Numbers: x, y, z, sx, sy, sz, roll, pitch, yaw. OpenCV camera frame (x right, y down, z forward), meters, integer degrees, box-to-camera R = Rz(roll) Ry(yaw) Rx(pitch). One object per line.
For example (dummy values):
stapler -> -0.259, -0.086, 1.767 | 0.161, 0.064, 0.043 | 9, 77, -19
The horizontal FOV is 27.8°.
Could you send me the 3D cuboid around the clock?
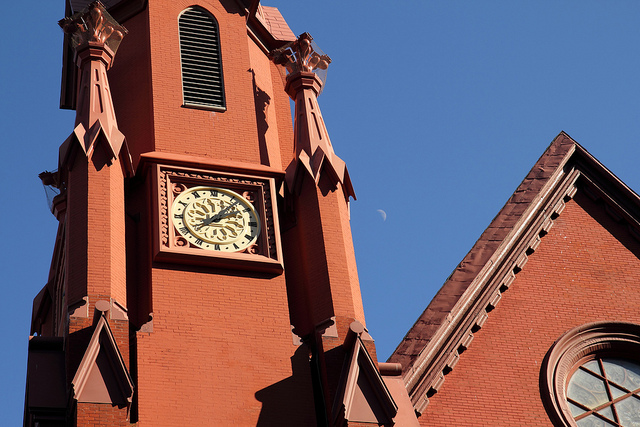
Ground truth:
clock -> -2.676, 0.181, 32.045 | 2.219, 2.064, 0.248 | 3, -47, -11
